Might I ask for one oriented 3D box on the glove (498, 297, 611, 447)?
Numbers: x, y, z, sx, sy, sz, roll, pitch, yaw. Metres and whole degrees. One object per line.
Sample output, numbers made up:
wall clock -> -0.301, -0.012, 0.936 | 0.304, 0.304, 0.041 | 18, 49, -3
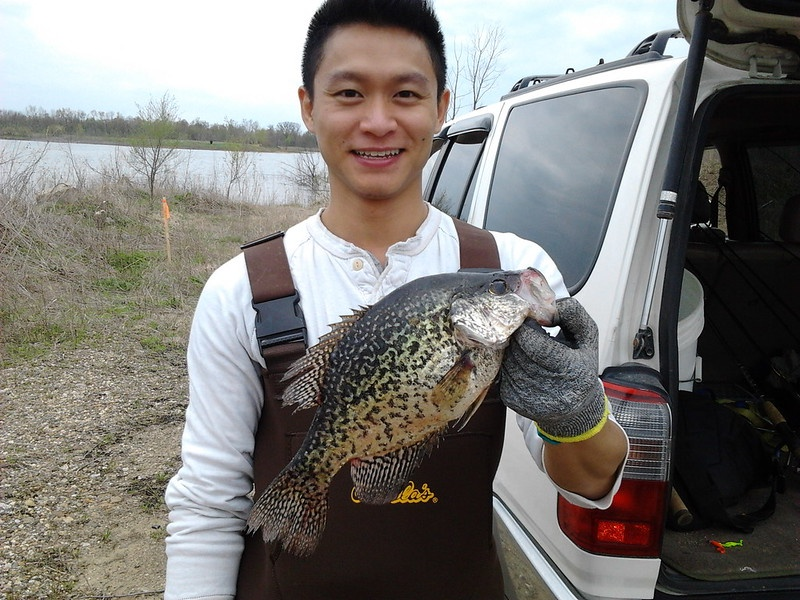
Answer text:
glove -> 0.499, 0.261, 1.933 | 0.339, 0.516, 0.219 | -1, -17, -29
